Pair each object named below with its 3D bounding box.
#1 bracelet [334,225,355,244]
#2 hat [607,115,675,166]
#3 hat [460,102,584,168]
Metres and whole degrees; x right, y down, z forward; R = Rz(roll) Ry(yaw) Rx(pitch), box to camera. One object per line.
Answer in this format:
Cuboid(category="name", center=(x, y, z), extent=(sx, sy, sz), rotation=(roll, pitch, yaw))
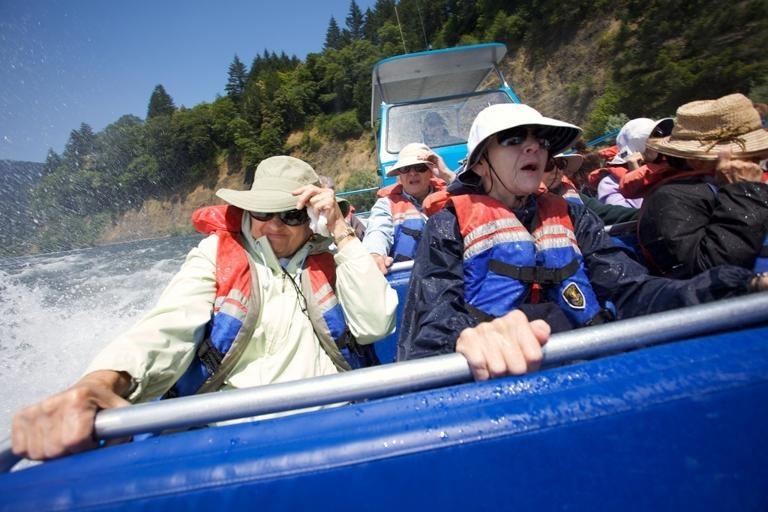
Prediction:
Cuboid(category="bracelet", center=(-0.209, -0.127, 2.591), extent=(0.099, 0.099, 0.106), rotation=(-34, 26, 19))
Cuboid(category="hat", center=(2.750, -1.325, 4.980), extent=(0.456, 0.222, 0.591), rotation=(-26, 30, -13))
Cuboid(category="hat", center=(0.791, -0.750, 2.681), extent=(0.559, 0.269, 0.446), rotation=(-21, -12, -2))
